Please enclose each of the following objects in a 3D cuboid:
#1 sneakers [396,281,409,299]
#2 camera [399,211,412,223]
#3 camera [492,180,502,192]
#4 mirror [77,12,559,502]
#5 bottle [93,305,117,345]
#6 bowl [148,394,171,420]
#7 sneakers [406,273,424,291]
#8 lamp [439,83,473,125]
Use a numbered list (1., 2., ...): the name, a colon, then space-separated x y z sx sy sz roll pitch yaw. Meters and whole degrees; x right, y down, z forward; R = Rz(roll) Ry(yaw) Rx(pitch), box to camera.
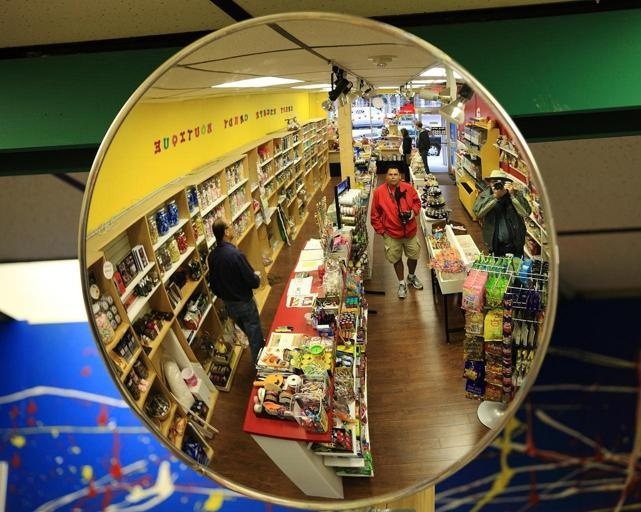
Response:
1. sneakers: 0.906 0.379 5.164 0.078 0.090 0.232 0 40 13
2. camera: 0.925 -0.425 4.990 0.123 0.127 0.103 6 7 13
3. camera: 1.150 -0.459 2.974 0.069 0.069 0.032 -7 14 -15
4. mirror: 0.140 -0.362 4.593 2.649 2.901 5.156 -1 16 6
5. bottle: -1.257 0.401 2.688 0.077 0.240 0.172 -11 -2 10
6. bowl: -1.032 0.959 2.958 0.136 0.138 0.095 -6 15 -13
7. sneakers: 1.078 0.282 5.283 0.095 0.114 0.261 -16 22 -21
8. lamp: 0.668 -0.757 2.281 0.142 0.176 0.329 0 16 11
